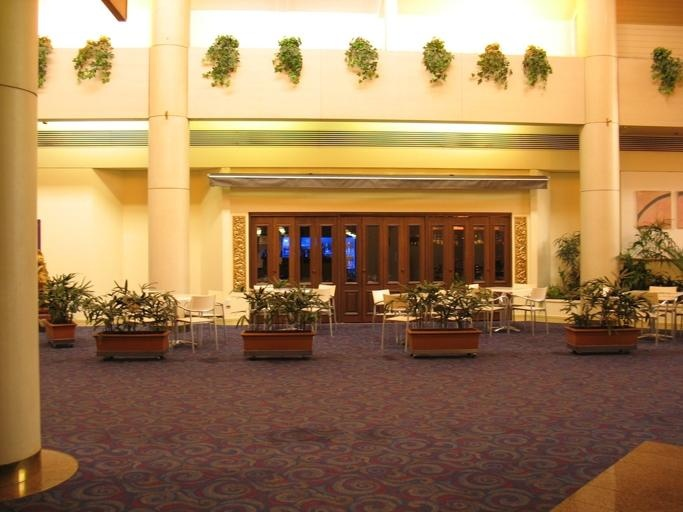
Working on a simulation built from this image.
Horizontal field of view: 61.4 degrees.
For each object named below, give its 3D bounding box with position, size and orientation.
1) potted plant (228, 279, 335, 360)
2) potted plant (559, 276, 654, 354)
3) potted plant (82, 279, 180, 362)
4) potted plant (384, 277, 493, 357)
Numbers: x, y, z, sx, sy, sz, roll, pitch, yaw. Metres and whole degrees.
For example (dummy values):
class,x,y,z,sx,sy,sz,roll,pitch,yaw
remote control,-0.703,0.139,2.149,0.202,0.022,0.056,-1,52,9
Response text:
class,x,y,z,sx,sy,sz,roll,pitch,yaw
potted plant,-0.944,1.009,9.208,1.825,1.027,1.213,0,-4,-1
potted plant,4.330,0.939,9.684,1.752,0.979,1.409,0,-1,-1
potted plant,-3.296,1.061,9.149,2.119,1.163,1.387,1,-5,-3
potted plant,1.490,0.965,9.324,1.583,1.129,1.818,-1,1,5
